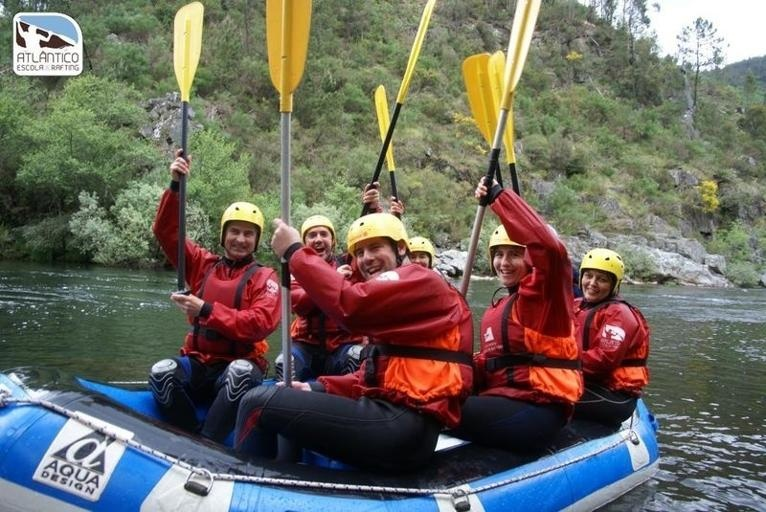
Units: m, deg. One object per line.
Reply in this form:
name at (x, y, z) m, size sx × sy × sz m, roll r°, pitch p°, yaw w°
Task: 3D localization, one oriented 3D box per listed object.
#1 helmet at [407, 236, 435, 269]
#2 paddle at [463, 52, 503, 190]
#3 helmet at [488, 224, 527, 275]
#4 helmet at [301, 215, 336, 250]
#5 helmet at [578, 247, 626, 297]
helmet at (0.452, -0.055, 7.647) m, size 0.294 × 0.400 × 0.406 m, roll -1°, pitch -11°, yaw 6°
paddle at (1.126, -1.737, 7.266) m, size 0.370 × 1.877 × 0.246 m, roll -5°, pitch -5°, yaw -17°
helmet at (1.175, -0.106, 6.202) m, size 0.321 × 0.465 × 0.450 m, roll -5°, pitch -15°, yaw 7°
helmet at (-0.786, -0.321, 7.364) m, size 0.309 × 0.466 × 0.208 m, roll -1°, pitch -4°, yaw -7°
helmet at (2.524, 0.144, 7.181) m, size 0.434 × 0.521 × 0.567 m, roll -9°, pitch -27°, yaw 37°
